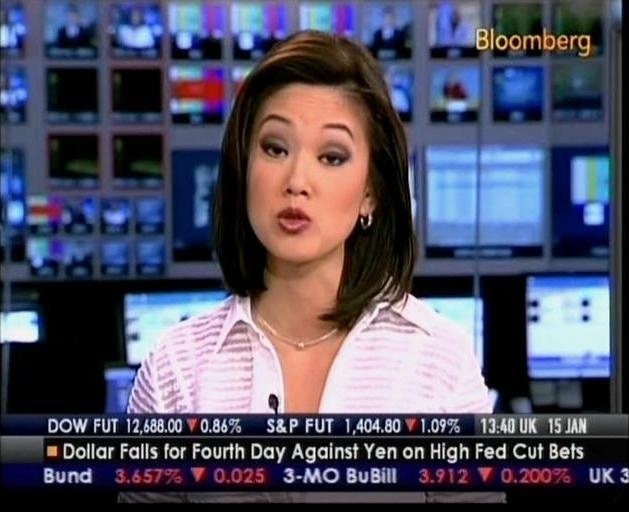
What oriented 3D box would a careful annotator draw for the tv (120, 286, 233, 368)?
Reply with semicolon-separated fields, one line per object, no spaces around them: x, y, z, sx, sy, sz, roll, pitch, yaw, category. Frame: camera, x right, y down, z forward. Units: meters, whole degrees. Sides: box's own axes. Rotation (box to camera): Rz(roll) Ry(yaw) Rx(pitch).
-0.474;0.224;5.206;0.299;0.231;0.029;-2;1;-7;tv

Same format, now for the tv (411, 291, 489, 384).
0.454;0.253;5.202;0.242;0.306;0.030;4;13;24;tv

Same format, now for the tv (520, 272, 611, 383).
0.822;0.215;5.171;0.289;0.383;0.036;-1;3;1;tv
